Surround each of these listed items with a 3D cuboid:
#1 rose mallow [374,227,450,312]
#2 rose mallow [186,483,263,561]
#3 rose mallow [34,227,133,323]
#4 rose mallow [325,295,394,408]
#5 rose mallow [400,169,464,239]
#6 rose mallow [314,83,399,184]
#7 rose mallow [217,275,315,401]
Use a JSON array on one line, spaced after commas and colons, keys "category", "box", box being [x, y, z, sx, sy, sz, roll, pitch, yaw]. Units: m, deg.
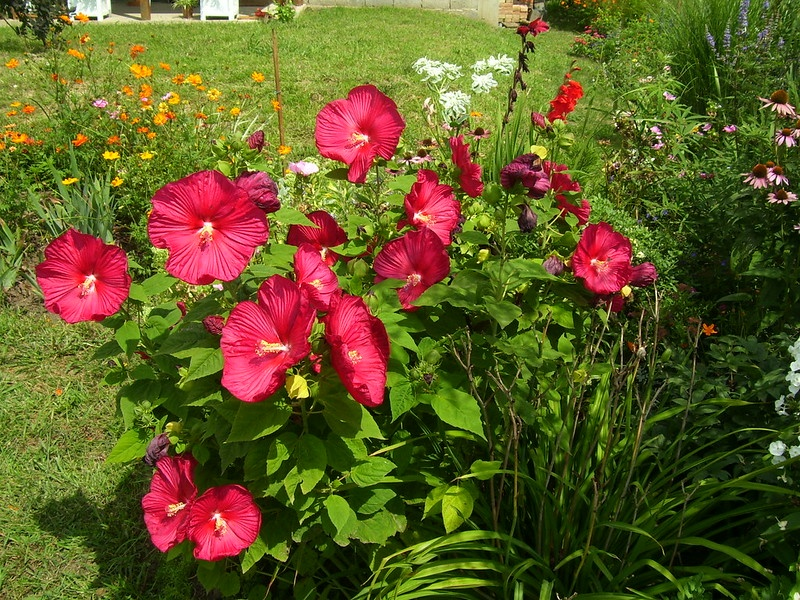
[{"category": "rose mallow", "box": [0.049, -0.117, 2.253, 0.263, 0.275, 0.101, -24, 41, 21]}, {"category": "rose mallow", "box": [-0.603, 0.765, 2.110, 0.227, 0.273, 0.123, 1, 8, -12]}, {"category": "rose mallow", "box": [-1.101, -0.127, 2.224, 0.306, 0.159, 0.297, 18, -22, -37]}, {"category": "rose mallow", "box": [-0.140, 0.171, 1.964, 0.200, 0.351, 0.255, 0, 26, -3]}, {"category": "rose mallow", "box": [0.114, -0.347, 2.308, 0.203, 0.269, 0.233, 2, 26, 0]}, {"category": "rose mallow", "box": [-0.156, -0.586, 2.211, 0.208, 0.311, 0.288, -21, 34, -40]}, {"category": "rose mallow", "box": [-0.421, 0.149, 1.893, 0.140, 0.336, 0.303, 20, 25, -42]}]
